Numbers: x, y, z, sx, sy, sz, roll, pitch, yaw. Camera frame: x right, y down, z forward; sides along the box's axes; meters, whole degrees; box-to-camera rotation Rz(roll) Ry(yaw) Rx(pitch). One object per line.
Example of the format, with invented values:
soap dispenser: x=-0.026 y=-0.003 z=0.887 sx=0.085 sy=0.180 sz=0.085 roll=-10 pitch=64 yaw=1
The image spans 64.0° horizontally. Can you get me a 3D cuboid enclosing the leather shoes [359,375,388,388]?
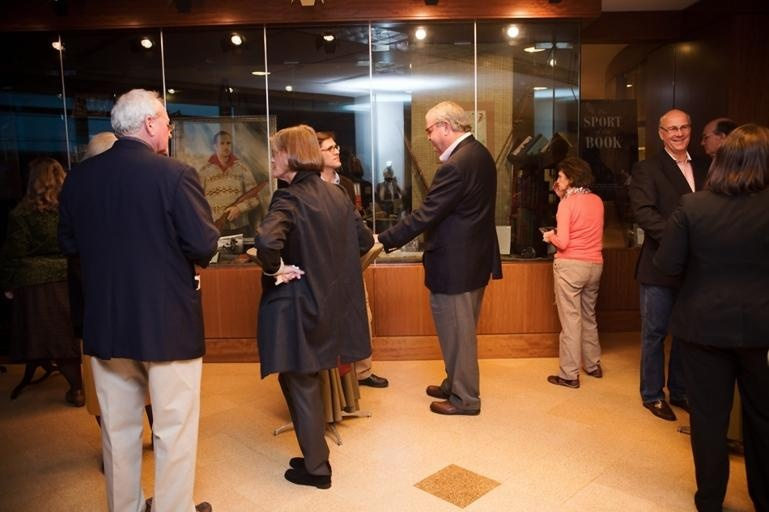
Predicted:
leather shoes: x=-0.086 y=1.223 z=5.964 sx=0.289 sy=0.118 sz=0.108 roll=-2 pitch=-4 yaw=5

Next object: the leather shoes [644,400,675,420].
leather shoes: x=2.347 y=1.325 z=5.289 sx=0.092 sy=0.113 sz=0.260 roll=-9 pitch=3 yaw=-23

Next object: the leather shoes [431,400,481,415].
leather shoes: x=0.629 y=1.306 z=5.428 sx=0.411 sy=0.165 sz=0.154 roll=5 pitch=-6 yaw=3

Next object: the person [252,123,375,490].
person: x=-0.526 y=0.376 z=4.495 sx=0.822 sy=2.594 sz=0.544 roll=-6 pitch=12 yaw=-20

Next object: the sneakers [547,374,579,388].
sneakers: x=1.686 y=1.162 z=5.838 sx=0.259 sy=0.104 sz=0.111 roll=9 pitch=9 yaw=32

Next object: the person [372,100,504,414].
person: x=0.557 y=0.026 z=5.355 sx=0.903 sy=2.656 sz=0.572 roll=-1 pitch=11 yaw=8
